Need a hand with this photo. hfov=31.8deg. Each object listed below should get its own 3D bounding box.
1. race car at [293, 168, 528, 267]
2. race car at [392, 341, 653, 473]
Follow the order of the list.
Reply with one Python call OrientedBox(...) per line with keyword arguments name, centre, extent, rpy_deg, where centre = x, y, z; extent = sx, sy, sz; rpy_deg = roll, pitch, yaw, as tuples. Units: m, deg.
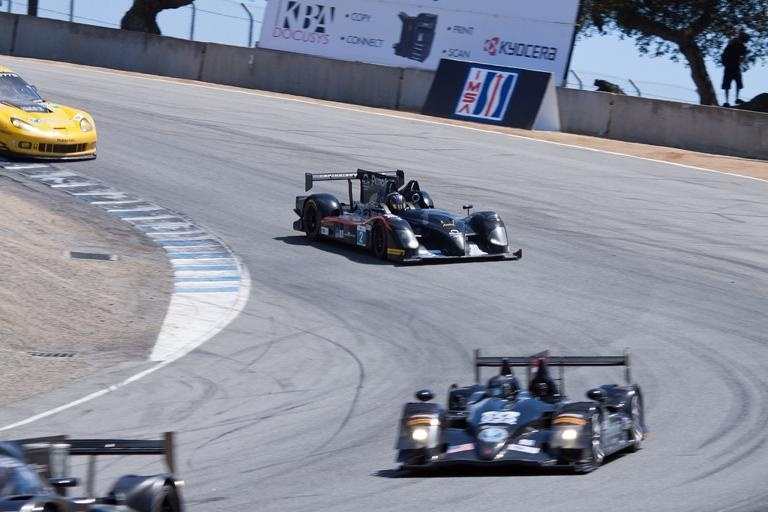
OrientedBox(name="race car", centre=(0.173, -0.859, 28.560), extent=(2.708, 0.871, 4.080), rpy_deg=(-7, 12, -41))
OrientedBox(name="race car", centre=(2.241, 2.395, 21.078), extent=(3.706, 2.071, 1.407), rpy_deg=(9, 14, 2))
